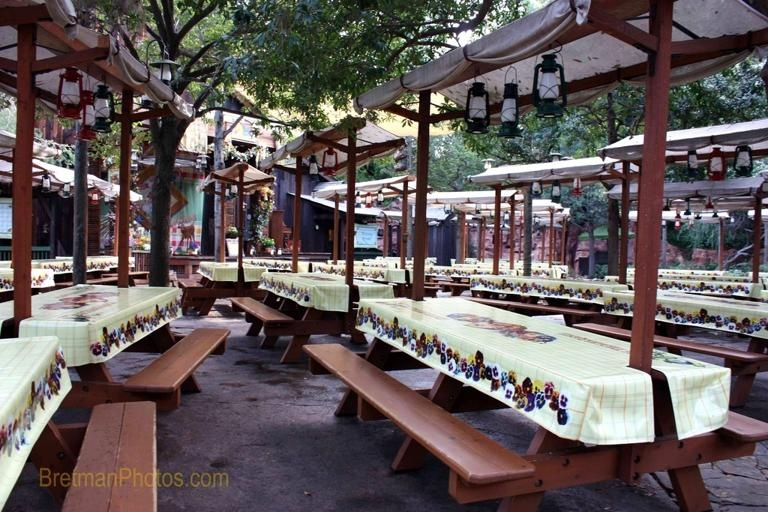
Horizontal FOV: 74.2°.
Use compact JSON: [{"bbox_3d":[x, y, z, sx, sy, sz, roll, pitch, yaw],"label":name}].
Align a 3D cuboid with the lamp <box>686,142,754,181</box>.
[{"bbox_3d":[4.908,-1.384,7.637,0.817,0.509,0.833,0,5,-22],"label":"lamp"}]
